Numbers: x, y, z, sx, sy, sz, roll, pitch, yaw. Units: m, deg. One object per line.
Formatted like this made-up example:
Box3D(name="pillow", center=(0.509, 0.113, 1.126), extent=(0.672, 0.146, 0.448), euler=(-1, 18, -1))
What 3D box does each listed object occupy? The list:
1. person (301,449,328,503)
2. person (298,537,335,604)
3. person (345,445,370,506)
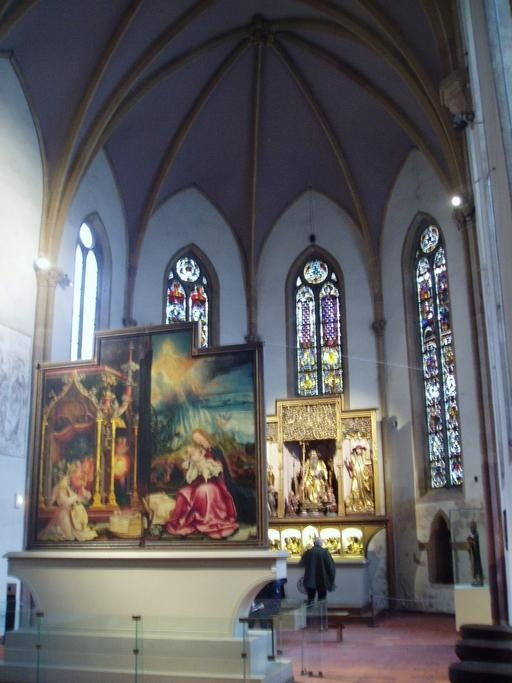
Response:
Box3D(name="person", center=(1.262, 2.960, 13.317), extent=(0.573, 1.171, 0.426), euler=(-3, -12, 7))
Box3D(name="person", center=(0.964, 3.699, 9.769), extent=(0.338, 1.158, 0.320), euler=(2, 7, 9))
Box3D(name="person", center=(2.162, 2.849, 12.918), extent=(0.480, 1.616, 0.384), euler=(-1, 20, 17))
